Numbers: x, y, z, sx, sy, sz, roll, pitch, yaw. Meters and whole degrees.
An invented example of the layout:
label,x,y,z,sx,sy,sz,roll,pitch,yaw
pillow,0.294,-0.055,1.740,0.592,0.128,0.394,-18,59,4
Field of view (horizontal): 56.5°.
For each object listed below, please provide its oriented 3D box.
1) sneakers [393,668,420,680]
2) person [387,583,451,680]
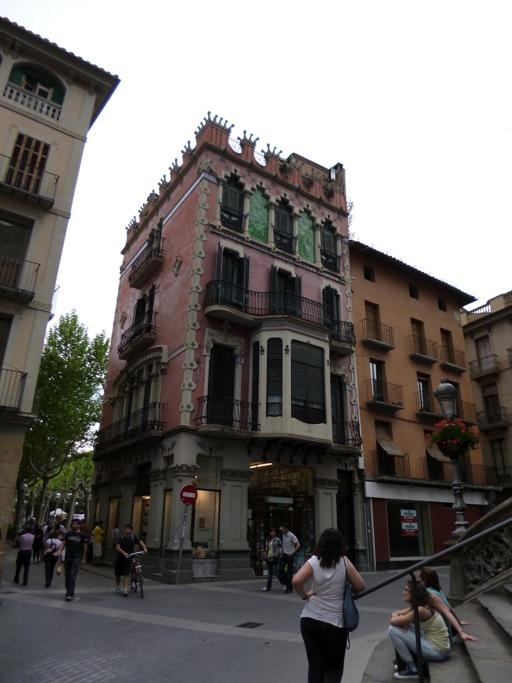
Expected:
label,x,y,z,sx,sy,sz,roll,pitch,yaw
sneakers,1.471,3.293,4.699,0.257,0.107,0.092,0,-26,9
person,1.593,2.883,4.778,0.546,0.941,0.956,-8,-23,25
